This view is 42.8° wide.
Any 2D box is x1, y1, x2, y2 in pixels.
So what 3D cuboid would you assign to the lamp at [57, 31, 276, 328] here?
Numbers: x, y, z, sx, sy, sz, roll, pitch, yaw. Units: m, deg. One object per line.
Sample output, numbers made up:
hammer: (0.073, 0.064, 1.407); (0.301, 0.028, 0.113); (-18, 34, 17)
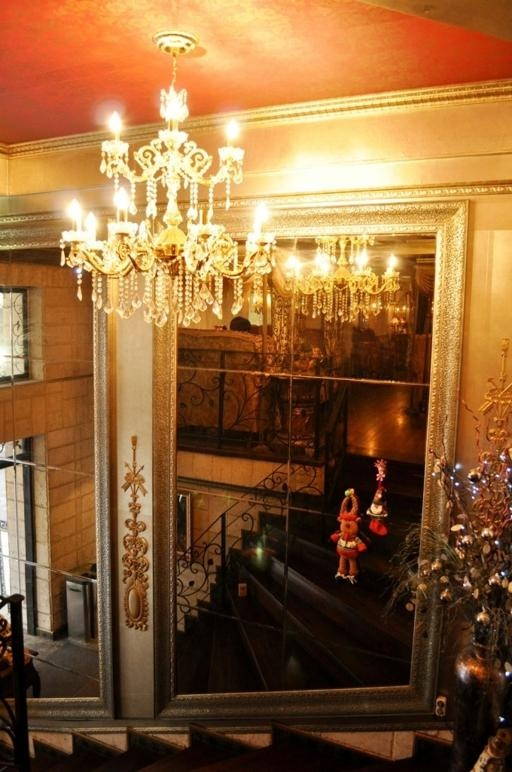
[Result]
lamp: (-0.284, -0.743, 2.322); (0.761, 0.981, 0.756); (4, 5, 32)
